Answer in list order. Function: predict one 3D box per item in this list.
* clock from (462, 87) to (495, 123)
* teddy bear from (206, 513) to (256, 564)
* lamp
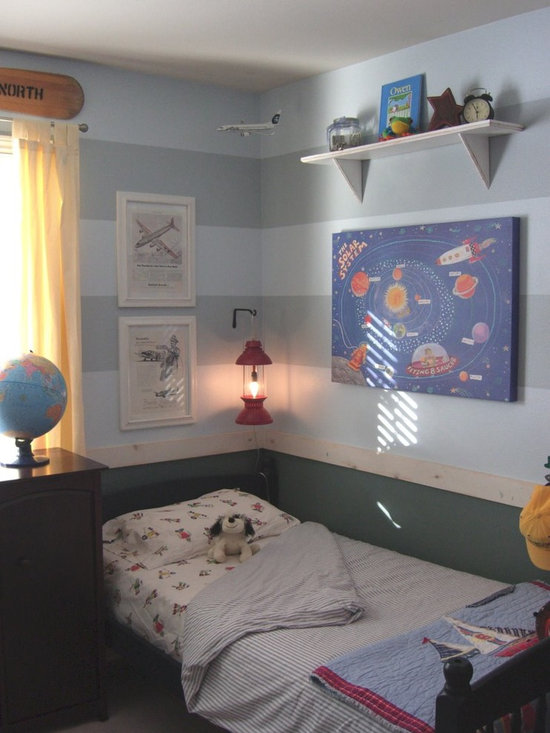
[{"bbox_3d":[0.722,-0.925,2.160,0.117,0.114,0.076,-3,5,38],"label":"clock"},{"bbox_3d":[-0.187,0.750,2.655,0.248,0.191,0.245,-6,-20,11],"label":"teddy bear"},{"bbox_3d":[-0.097,-0.017,3.253,0.238,0.619,0.213,-1,-1,-23],"label":"lamp"}]
